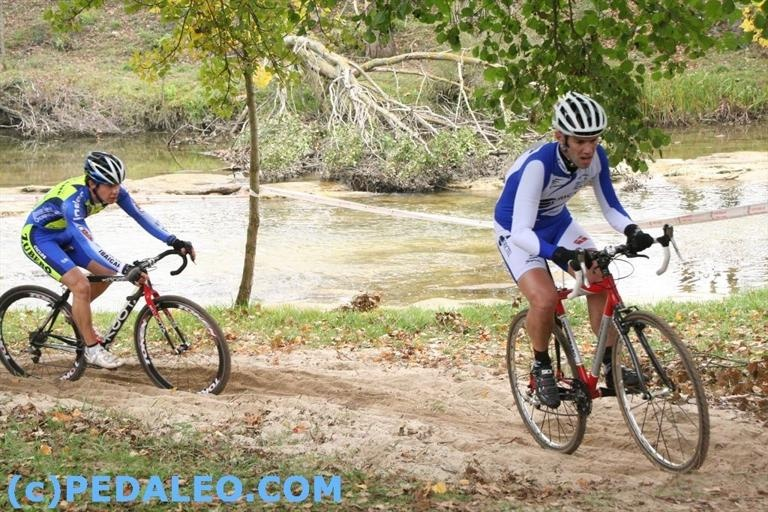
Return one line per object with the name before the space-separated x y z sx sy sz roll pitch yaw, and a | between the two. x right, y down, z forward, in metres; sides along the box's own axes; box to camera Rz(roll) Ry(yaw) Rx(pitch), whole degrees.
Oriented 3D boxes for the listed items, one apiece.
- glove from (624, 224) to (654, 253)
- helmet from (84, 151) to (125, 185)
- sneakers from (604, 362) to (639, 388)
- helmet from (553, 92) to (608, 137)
glove | 3.073 -0.197 11.971 0.344 0.356 0.466 1 6 12
helmet | -3.914 -1.220 13.643 0.597 0.261 0.430 26 29 35
sneakers | 2.919 1.480 12.102 0.199 0.183 0.523 -4 -2 -36
helmet | 2.352 -1.697 11.942 0.538 0.251 0.636 -4 27 -10
